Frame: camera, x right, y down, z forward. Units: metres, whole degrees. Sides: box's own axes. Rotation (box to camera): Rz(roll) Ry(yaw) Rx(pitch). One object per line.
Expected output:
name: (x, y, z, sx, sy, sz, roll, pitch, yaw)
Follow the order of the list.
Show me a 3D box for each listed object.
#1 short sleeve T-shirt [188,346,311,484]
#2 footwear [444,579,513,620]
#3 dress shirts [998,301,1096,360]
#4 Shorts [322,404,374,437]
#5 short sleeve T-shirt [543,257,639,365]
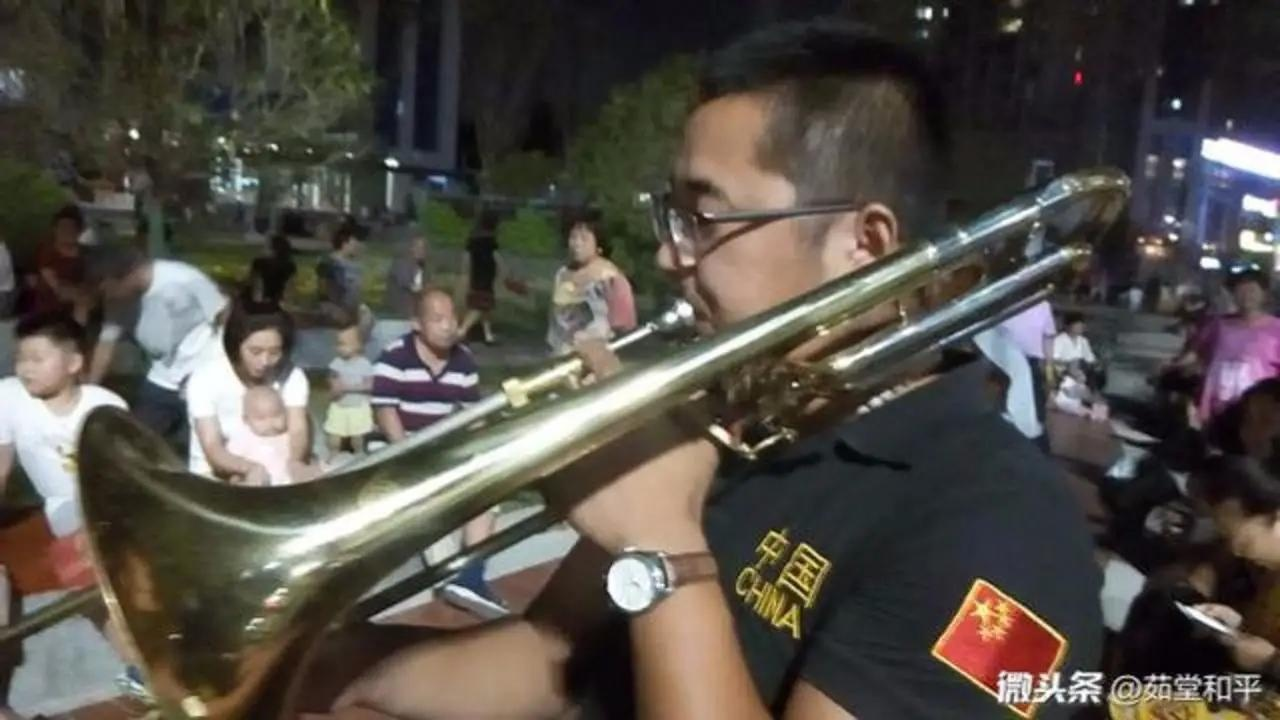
short sleeve T-shirt: (-1.956, 0.289, 4.536, 0.626, 0.739, 0.413, 1, -14, -33)
footwear: (-0.611, 0.901, 3.380, 0.231, 0.070, 0.228, 25, -10, -16)
dress shirts: (2.469, -0.187, 5.505, 0.663, 0.319, 0.362, -9, 0, -33)
Shorts: (-1.829, 0.374, 5.693, 0.345, 0.211, 0.219, 3, 42, -6)
short sleeve T-shirt: (-0.498, -0.358, 6.613, 0.399, 0.871, 0.641, 0, 47, -43)
